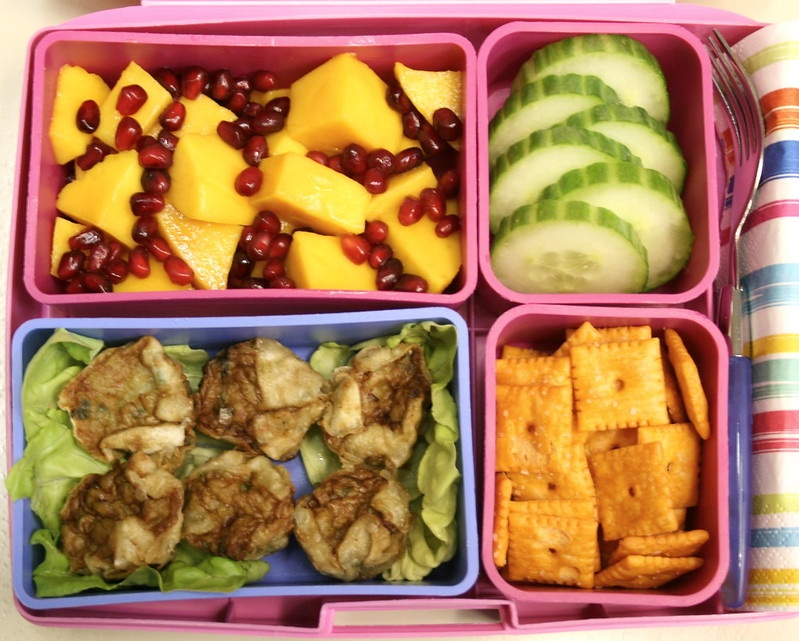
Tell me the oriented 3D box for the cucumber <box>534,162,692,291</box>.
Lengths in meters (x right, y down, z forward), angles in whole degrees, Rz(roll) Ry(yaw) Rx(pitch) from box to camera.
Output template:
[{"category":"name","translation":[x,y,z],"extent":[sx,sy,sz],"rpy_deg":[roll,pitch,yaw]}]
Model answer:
[{"category":"cucumber","translation":[0.626,-0.289,2.312],"extent":[0.439,0.332,0.190],"rpy_deg":[15,58,13]}]

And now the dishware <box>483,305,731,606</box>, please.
[{"category":"dishware","translation":[0.691,0.318,2.418],"extent":[0.702,0.277,0.830],"rpy_deg":[0,93,2]}]

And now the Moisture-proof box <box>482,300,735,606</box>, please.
[{"category":"Moisture-proof box","translation":[0.689,0.326,2.363],"extent":[0.701,0.284,0.832],"rpy_deg":[0,93,2]}]

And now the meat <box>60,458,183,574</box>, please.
[{"category":"meat","translation":[-0.734,0.522,2.163],"extent":[0.333,0.163,0.266],"rpy_deg":[-12,56,-6]}]

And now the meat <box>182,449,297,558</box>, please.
[{"category":"meat","translation":[-0.435,0.498,2.199],"extent":[0.294,0.135,0.270],"rpy_deg":[-2,56,1]}]

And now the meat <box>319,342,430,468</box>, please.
[{"category":"meat","translation":[-0.069,0.251,2.268],"extent":[0.280,0.138,0.347],"rpy_deg":[18,83,-12]}]
